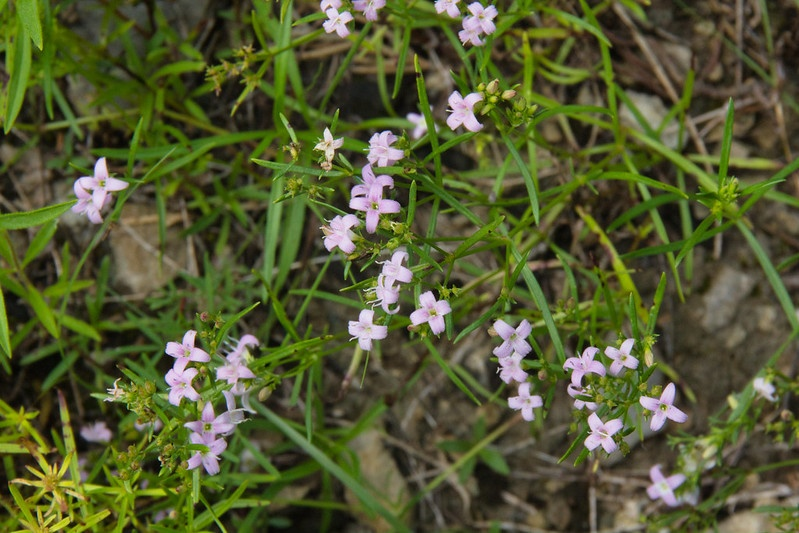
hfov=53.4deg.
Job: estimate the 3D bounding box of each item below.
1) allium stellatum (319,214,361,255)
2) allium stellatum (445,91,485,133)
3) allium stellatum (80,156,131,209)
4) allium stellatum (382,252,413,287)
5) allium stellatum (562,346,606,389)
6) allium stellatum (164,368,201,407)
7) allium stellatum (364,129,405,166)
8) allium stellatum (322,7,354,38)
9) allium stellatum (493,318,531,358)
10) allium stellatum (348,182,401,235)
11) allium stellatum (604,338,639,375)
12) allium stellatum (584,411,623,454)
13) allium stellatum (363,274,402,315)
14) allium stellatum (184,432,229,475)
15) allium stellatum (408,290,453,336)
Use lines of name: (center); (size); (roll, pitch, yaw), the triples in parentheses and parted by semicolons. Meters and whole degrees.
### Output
allium stellatum: (-0.416, -0.213, 5.234); (0.234, 0.232, 0.260); (5, 88, 50)
allium stellatum: (0.438, -1.026, 5.256); (0.218, 0.127, 0.229); (6, 64, 5)
allium stellatum: (-1.985, -0.589, 5.418); (0.293, 0.105, 0.363); (13, 100, 13)
allium stellatum: (-0.019, 0.025, 5.194); (0.184, 0.126, 0.199); (1, 29, 31)
allium stellatum: (1.263, 0.692, 5.287); (0.267, 0.325, 0.142); (-24, 103, 0)
allium stellatum: (-1.445, 0.796, 5.290); (0.210, 0.134, 0.221); (-5, 64, 0)
allium stellatum: (-0.089, -0.771, 5.272); (0.230, 0.199, 0.190); (-4, 63, 0)
allium stellatum: (-0.432, -1.679, 5.474); (0.212, 0.137, 0.146); (12, 64, 8)
allium stellatum: (0.757, 0.492, 5.322); (0.249, 0.278, 0.203); (-4, 62, 1)
allium stellatum: (-0.180, -0.351, 5.184); (0.282, 0.081, 0.340); (7, 88, 5)
allium stellatum: (1.501, 0.617, 5.367); (0.215, 0.298, 0.207); (-12, 62, -4)
allium stellatum: (1.353, 1.113, 5.268); (0.223, 0.200, 0.223); (13, 65, 9)
allium stellatum: (-0.101, 0.164, 5.227); (0.080, 0.240, 0.252); (-15, 101, -31)
allium stellatum: (-1.274, 1.260, 5.367); (0.284, 0.274, 0.094); (-34, 69, 33)
allium stellatum: (0.203, 0.298, 5.141); (0.240, 0.094, 0.287); (-25, 96, -4)
